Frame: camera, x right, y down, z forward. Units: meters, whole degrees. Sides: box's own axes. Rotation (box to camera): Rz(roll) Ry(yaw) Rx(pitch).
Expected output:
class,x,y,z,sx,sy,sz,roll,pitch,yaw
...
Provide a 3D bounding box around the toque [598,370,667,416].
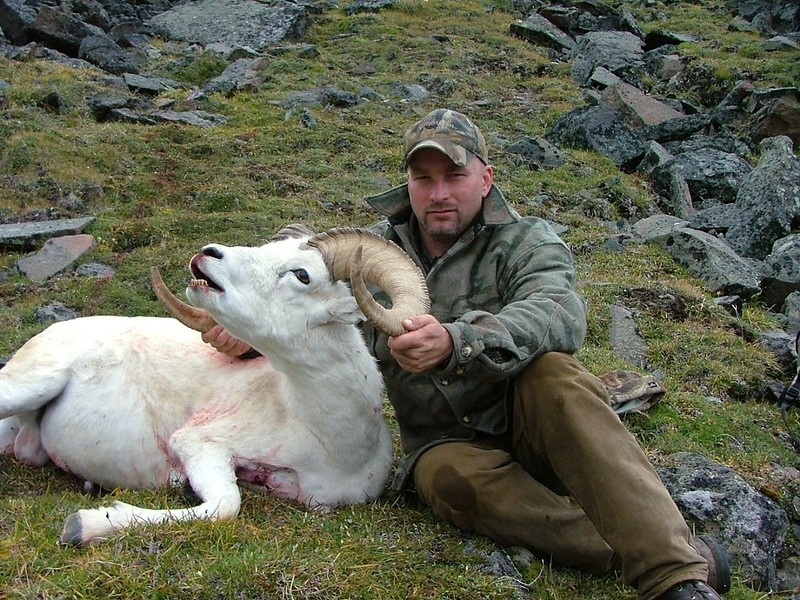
class,x,y,z,sx,sy,sz,roll,pitch,yaw
toque,2.442,0.945,8.917,0.553,0.243,0.565,-6,18,-6

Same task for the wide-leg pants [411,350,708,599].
class,x,y,z,sx,sy,sz,roll,pitch,yaw
wide-leg pants,1.397,1.382,6.682,1.420,2.081,1.020,-11,33,41

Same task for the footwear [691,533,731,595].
class,x,y,z,sx,sy,sz,roll,pitch,yaw
footwear,2.331,1.954,6.449,0.350,0.379,0.372,-4,12,22
